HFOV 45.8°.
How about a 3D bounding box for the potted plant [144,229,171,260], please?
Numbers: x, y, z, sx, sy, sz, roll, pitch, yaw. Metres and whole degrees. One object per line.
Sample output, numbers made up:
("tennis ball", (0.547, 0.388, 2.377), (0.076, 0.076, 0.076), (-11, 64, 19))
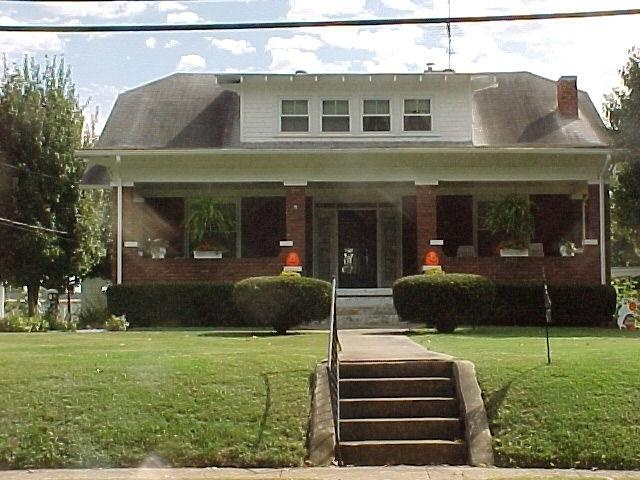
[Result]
("potted plant", (-5.411, 0.183, 24.978), (0.929, 0.990, 0.983), (1, -1, 20))

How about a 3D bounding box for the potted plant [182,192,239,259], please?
("potted plant", (-3.750, -0.478, 24.290), (1.757, 2.146, 2.025), (0, -1, 4))
